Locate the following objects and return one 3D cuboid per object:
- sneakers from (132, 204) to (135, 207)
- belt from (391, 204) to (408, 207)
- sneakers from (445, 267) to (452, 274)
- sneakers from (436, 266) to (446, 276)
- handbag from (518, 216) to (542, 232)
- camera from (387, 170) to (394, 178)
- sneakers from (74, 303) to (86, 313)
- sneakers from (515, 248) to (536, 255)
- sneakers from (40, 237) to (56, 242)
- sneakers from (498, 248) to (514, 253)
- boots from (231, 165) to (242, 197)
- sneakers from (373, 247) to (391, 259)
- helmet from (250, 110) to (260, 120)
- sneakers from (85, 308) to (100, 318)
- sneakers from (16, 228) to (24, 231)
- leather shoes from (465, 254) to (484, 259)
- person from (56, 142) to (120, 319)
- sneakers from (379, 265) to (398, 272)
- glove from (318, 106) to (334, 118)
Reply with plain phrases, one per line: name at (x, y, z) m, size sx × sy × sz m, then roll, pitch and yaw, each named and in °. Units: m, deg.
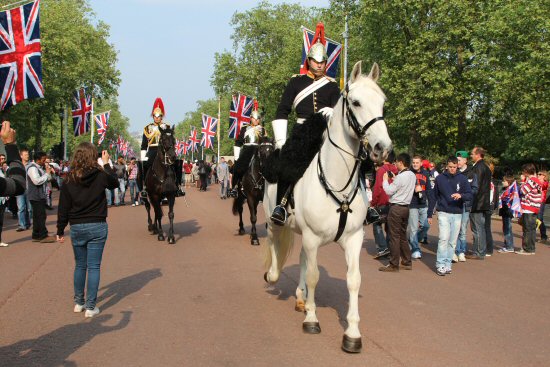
sneakers at (-7.077, 1.062, 28.541) m, size 0.132 × 0.151 × 0.351 m, roll 0°, pitch -2°, yaw -21°
belt at (3.386, 0.575, 15.587) m, size 0.461 × 0.070 × 0.127 m, roll 2°, pitch 2°, yaw 9°
sneakers at (4.727, 2.329, 15.498) m, size 0.124 × 0.150 × 0.492 m, roll 3°, pitch 3°, yaw 25°
sneakers at (4.446, 2.313, 15.258) m, size 0.207 × 0.235 × 0.147 m, roll 2°, pitch 3°, yaw 12°
handbag at (8.247, 1.276, 18.437) m, size 0.770 × 0.407 × 0.679 m, roll 5°, pitch -6°, yaw 44°
camera at (3.393, -0.253, 16.839) m, size 0.078 × 0.176 × 0.254 m, roll -4°, pitch -28°, yaw 44°
sneakers at (-4.401, 2.780, 12.870) m, size 0.126 × 0.140 × 0.336 m, roll 5°, pitch 3°, yaw 4°
sneakers at (7.828, 2.140, 17.865) m, size 0.632 × 0.242 × 0.230 m, roll 2°, pitch -1°, yaw 20°
sneakers at (-7.370, 1.793, 18.520) m, size 0.364 × 0.167 × 0.165 m, roll -5°, pitch 6°, yaw -15°
sneakers at (7.308, 2.107, 18.104) m, size 0.563 × 0.214 × 0.185 m, roll 2°, pitch -4°, yaw 4°
boots at (-1.398, -0.134, 19.872) m, size 0.271 × 1.166 × 0.484 m, roll 10°, pitch 11°, yaw 4°
sneakers at (3.120, 2.076, 16.777) m, size 0.540 × 0.208 × 0.209 m, roll -23°, pitch 19°, yaw 26°
helmet at (-0.673, -2.353, 19.613) m, size 0.256 × 0.200 × 0.312 m, roll 4°, pitch 21°, yaw -8°
sneakers at (-4.057, 2.851, 12.714) m, size 0.158 × 0.139 × 0.323 m, roll 4°, pitch 9°, yaw 24°
sneakers at (-9.123, 1.639, 20.470) m, size 0.110 × 0.118 × 0.289 m, roll -1°, pitch -7°, yaw 33°
leather shoes at (5.965, 2.162, 17.072) m, size 0.566 × 0.228 × 0.204 m, roll -2°, pitch 1°, yaw 2°
person at (-4.206, 1.014, 12.733) m, size 1.136 × 3.834 × 0.503 m, roll 1°, pitch 3°, yaw -16°
sneakers at (3.088, 2.311, 15.534) m, size 0.480 × 0.197 × 0.201 m, roll 2°, pitch -3°, yaw 18°
glove at (1.088, -1.562, 12.378) m, size 0.308 × 0.091 × 0.238 m, roll 34°, pitch 40°, yaw 22°
